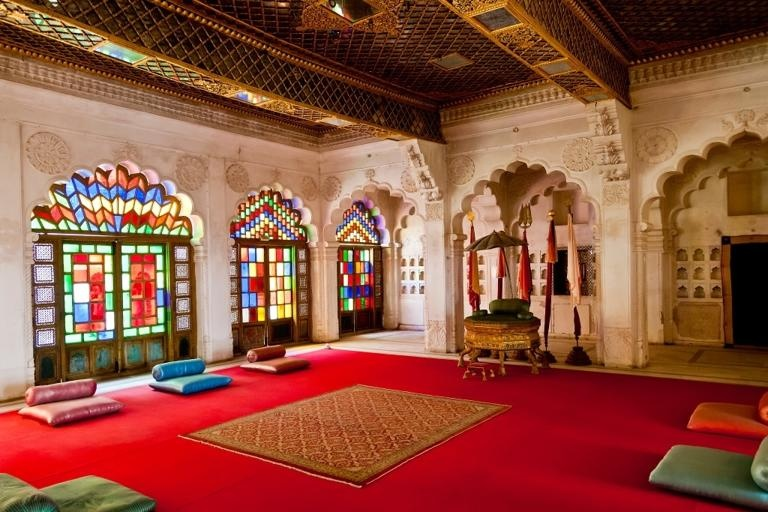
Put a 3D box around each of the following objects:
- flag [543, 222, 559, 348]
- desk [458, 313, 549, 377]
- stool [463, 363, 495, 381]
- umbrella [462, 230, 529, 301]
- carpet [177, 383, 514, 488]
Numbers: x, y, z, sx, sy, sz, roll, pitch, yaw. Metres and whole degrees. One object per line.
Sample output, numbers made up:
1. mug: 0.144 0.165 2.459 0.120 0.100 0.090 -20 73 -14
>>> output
1. flag: 3.669 0.605 11.227 0.293 3.018 3.496 0 4 18
2. desk: 2.250 1.536 9.381 1.187 0.679 1.200 1 -4 -21
3. stool: 1.780 2.030 9.301 0.561 0.201 0.957 0 4 15
4. umbrella: 2.157 -0.085 9.797 0.749 0.696 0.728 -1 7 41
5. carpet: -0.416 2.323 7.049 3.466 0.097 2.616 -5 6 -44
